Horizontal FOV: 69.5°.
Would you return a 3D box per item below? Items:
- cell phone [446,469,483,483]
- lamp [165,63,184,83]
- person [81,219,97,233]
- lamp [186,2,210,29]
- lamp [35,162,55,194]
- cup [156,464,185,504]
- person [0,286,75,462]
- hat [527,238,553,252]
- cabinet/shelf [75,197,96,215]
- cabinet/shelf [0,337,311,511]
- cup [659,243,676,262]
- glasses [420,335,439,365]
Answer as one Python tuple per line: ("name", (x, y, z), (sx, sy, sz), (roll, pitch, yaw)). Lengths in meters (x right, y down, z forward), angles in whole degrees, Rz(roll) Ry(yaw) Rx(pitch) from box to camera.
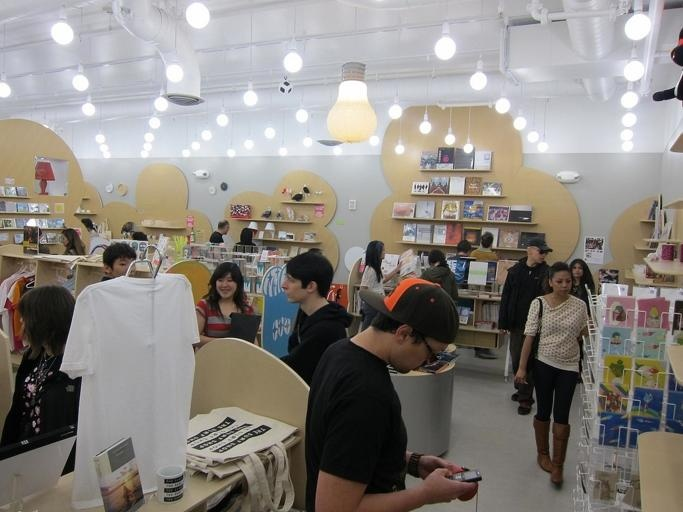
("cell phone", (0.594, 1.056, 2.375), (0.163, 0.037, 0.095), (-4, 1, -4))
("lamp", (-1.783, -1.971, 5.277), (0.141, 0.182, 0.221), (-1, 7, -10))
("person", (-5.460, -0.675, 10.650), (0.226, 0.290, 0.832), (-3, 8, -27))
("lamp", (-1.250, -2.127, 4.297), (0.169, 0.251, 0.246), (-1, 7, -9))
("lamp", (-5.411, -1.449, 8.979), (0.262, 0.658, 1.188), (-4, 8, -29))
("cup", (-0.951, 1.288, 2.786), (0.108, 0.136, 0.183), (2, -1, 7))
("person", (-1.955, 0.710, 3.166), (0.469, 1.014, 0.386), (-4, 8, -29))
("hat", (2.470, -0.145, 6.159), (0.247, 0.157, 0.167), (2, 5, 33))
("cabinet/shelf", (-7.390, -1.434, 14.253), (0.597, 0.519, 0.207), (1, 7, 12))
("cabinet/shelf", (-0.904, 0.996, 3.284), (1.061, 0.844, 1.481), (3, 2, 37))
("cup", (3.352, -0.047, 5.091), (0.156, 0.188, 0.167), (-1, 9, 0))
("glasses", (0.409, 0.423, 2.277), (0.031, 0.126, 0.116), (-10, -21, -1))
